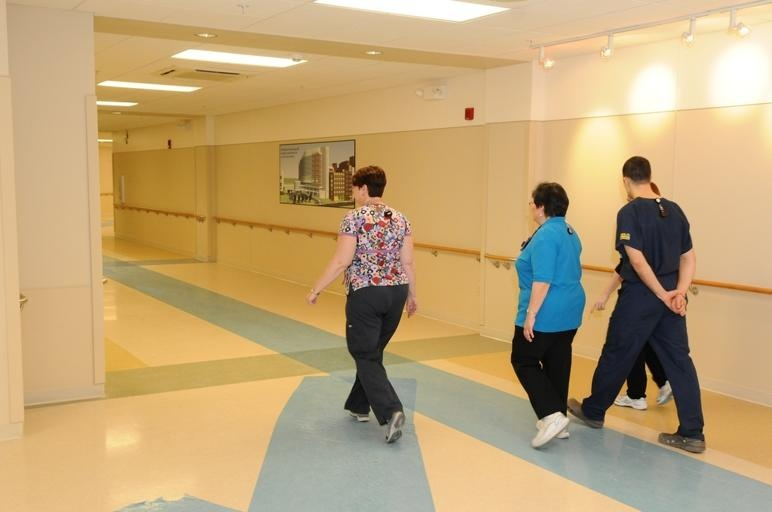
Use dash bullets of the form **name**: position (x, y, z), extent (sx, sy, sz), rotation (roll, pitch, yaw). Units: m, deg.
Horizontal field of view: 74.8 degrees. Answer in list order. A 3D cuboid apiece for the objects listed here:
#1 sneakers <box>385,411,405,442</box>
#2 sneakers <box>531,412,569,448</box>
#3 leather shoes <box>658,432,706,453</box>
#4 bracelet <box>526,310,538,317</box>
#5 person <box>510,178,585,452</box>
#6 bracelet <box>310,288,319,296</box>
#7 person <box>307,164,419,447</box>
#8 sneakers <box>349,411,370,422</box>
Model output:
- **sneakers**: position (0.074, 1.468, 4.442), extent (0.158, 0.325, 0.297), rotation (1, 9, 0)
- **sneakers**: position (1.425, 1.510, 4.352), extent (0.356, 0.151, 0.129), rotation (-37, -9, -11)
- **leather shoes**: position (2.570, 1.607, 4.403), extent (0.328, 0.127, 0.131), rotation (9, 4, 43)
- **bracelet**: position (1.219, 0.479, 4.230), extent (0.057, 0.044, 0.058), rotation (-1, 1, 39)
- **person**: position (1.392, 0.519, 4.373), extent (0.571, 2.284, 0.532), rotation (4, 10, 20)
- **bracelet**: position (-0.597, 0.301, 4.258), extent (0.076, 0.029, 0.059), rotation (-17, -7, 27)
- **person**: position (-0.139, 0.413, 4.516), extent (0.725, 2.399, 0.691), rotation (2, 9, 10)
- **sneakers**: position (-0.265, 1.536, 4.865), extent (0.206, 0.092, 0.079), rotation (10, 7, 43)
